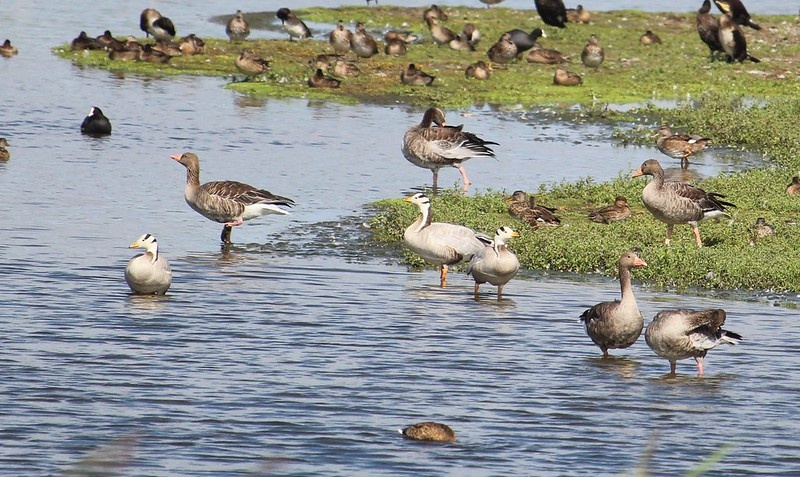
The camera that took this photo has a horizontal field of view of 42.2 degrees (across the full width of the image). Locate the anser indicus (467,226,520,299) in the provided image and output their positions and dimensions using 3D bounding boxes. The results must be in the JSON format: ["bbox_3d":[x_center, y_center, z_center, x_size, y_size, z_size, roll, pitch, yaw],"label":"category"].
[{"bbox_3d":[2.054,0.648,22.928,0.968,1.842,0.800,0,39,-7],"label":"anser indicus"}]

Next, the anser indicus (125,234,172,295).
[{"bbox_3d":[-5.331,0.675,22.179,0.937,1.266,0.917,-2,38,-10],"label":"anser indicus"}]
